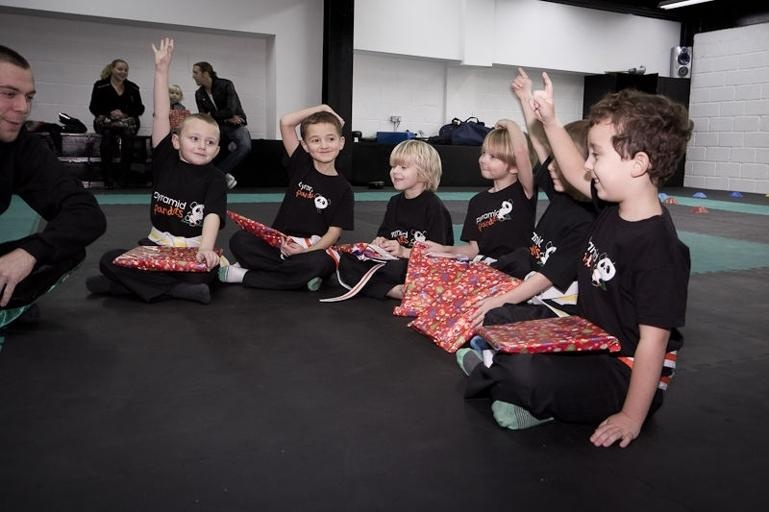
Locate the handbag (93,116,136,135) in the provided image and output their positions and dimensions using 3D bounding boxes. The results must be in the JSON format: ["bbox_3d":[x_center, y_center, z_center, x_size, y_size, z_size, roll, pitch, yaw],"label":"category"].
[{"bbox_3d":[-3.344,-1.609,6.511,0.419,0.158,0.255,-2,6,-7],"label":"handbag"}]
